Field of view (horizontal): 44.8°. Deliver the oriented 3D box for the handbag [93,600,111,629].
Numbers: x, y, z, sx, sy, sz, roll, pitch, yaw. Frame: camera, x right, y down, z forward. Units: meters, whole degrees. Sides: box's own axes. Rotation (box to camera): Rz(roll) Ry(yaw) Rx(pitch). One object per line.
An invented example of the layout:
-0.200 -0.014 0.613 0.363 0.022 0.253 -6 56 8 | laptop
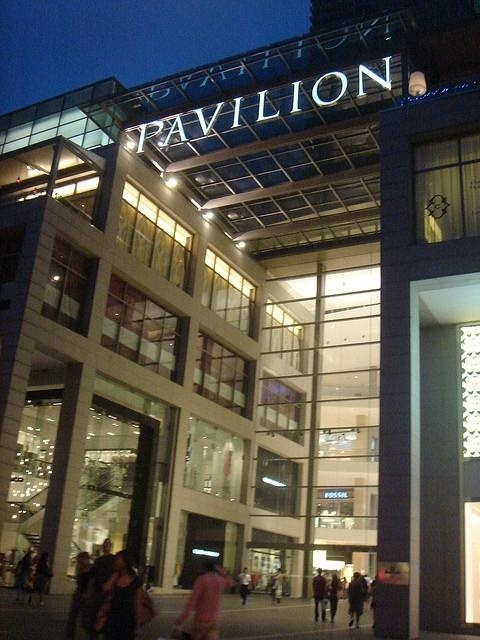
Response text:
-1.081 2.329 4.557 0.079 0.271 0.289 13 -15 -11 | handbag
